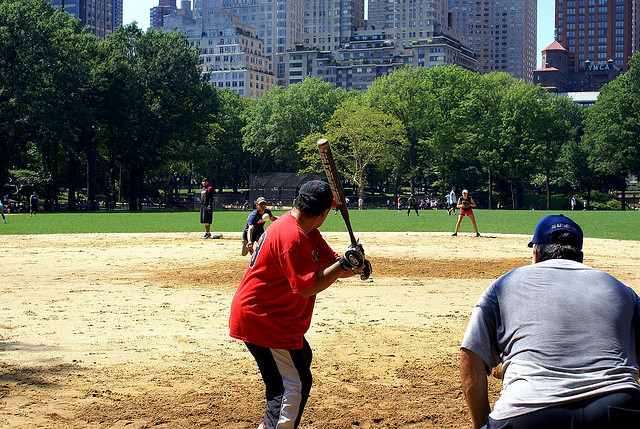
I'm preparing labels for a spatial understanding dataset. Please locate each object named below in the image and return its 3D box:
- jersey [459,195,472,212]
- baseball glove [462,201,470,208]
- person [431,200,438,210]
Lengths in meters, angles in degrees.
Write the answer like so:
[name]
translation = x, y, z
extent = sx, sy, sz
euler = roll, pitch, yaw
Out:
[jersey]
translation = 14.148, -1.038, 102.205
extent = 1.231, 1.640, 0.687
euler = 1, 1, -30
[baseball glove]
translation = 14.012, -0.974, 101.995
extent = 0.679, 0.596, 0.169
euler = -1, -3, 19
[person]
translation = 16.514, -1.247, 151.907
extent = 0.924, 1.253, 0.665
euler = 2, -27, 1
